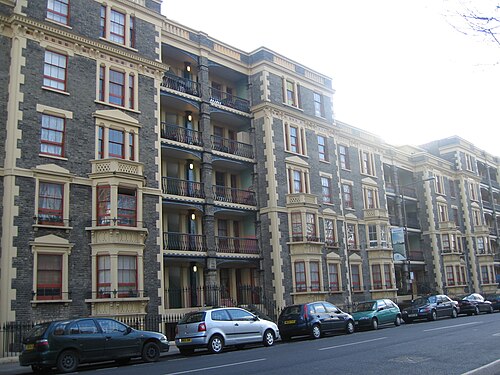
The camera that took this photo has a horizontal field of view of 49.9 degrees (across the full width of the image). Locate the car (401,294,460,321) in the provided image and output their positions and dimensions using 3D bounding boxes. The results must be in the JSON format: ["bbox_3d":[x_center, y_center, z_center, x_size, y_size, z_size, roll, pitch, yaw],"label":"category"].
[{"bbox_3d":[13.171,8.887,39.697,4.787,1.941,1.484,10,-24,-39],"label":"car"}]

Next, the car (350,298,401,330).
[{"bbox_3d":[7.976,8.295,35.072,3.987,1.928,1.223,10,-25,-40],"label":"car"}]

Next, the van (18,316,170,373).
[{"bbox_3d":[-6.685,6.809,23.508,5.875,1.533,2.533,5,-15,-37],"label":"van"}]

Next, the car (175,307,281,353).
[{"bbox_3d":[-1.051,7.026,26.817,4.741,1.375,2.275,4,-12,-34],"label":"car"}]

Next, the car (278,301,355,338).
[{"bbox_3d":[4.047,7.692,31.038,5.071,2.003,1.998,5,-21,-29],"label":"car"}]

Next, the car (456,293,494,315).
[{"bbox_3d":[18.234,9.568,44.025,1.579,1.778,4.547,-18,-22,33],"label":"car"}]
